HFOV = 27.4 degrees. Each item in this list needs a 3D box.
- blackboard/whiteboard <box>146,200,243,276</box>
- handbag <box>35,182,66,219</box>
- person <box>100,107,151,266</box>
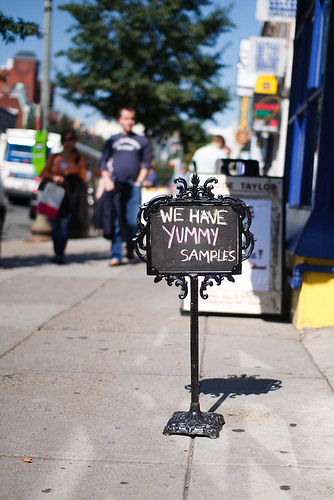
[{"bbox_3d":[0.154,-0.071,3.399,0.389,0.288,0.020,1,2,-1],"label":"blackboard/whiteboard"},{"bbox_3d":[-1.431,-0.602,8.344,0.277,0.417,0.482,1,7,1],"label":"handbag"},{"bbox_3d":[-0.573,-0.804,9.003,0.639,2.047,0.787,2,7,7],"label":"person"}]
